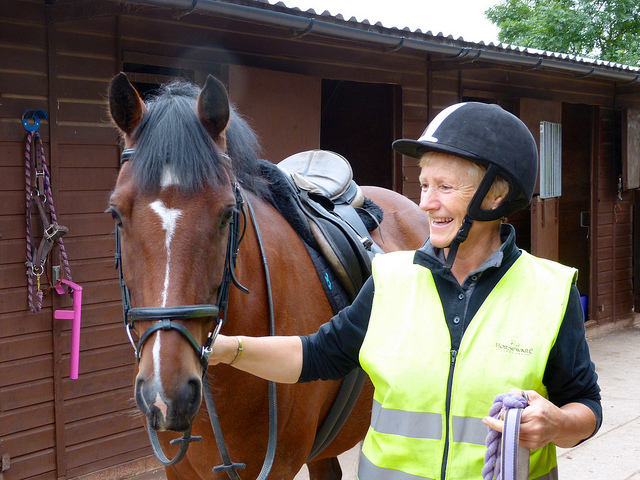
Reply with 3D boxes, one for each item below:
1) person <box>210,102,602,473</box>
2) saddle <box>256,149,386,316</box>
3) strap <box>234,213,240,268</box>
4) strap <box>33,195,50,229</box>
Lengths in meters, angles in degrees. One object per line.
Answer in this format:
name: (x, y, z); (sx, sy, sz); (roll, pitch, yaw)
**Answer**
person: (0.511, 0.208, 3.227); (1.365, 1.586, 0.455); (4, 6, 21)
saddle: (0.045, -0.159, 4.480); (0.607, 0.968, 0.751); (20, 23, 41)
strap: (-0.384, 0.001, 3.462); (0.022, 0.253, 0.014); (4, -18, 1)
strap: (-1.916, -0.192, 5.211); (0.073, 0.310, 0.049); (-17, -7, 17)
